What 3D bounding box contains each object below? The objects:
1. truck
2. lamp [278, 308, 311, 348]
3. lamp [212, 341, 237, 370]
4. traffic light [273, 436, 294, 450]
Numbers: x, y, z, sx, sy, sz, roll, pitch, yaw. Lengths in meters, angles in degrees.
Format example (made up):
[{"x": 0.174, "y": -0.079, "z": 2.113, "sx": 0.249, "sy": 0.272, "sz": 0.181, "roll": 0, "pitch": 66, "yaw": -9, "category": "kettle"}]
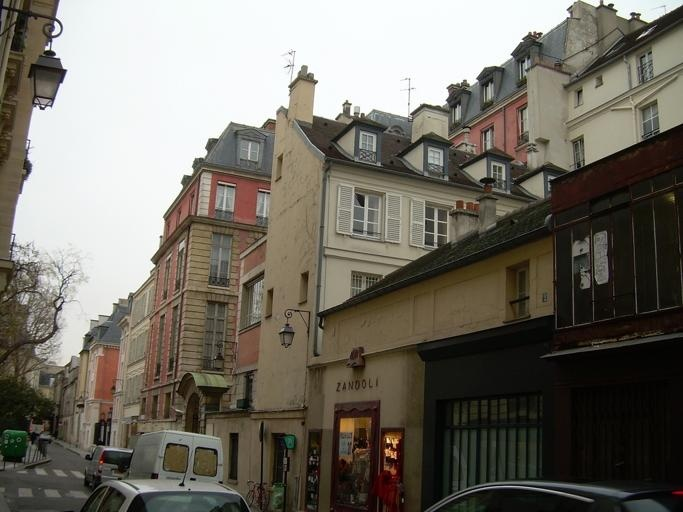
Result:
[{"x": -5.230, "y": 6.409, "z": 22.891, "sx": 2.232, "sy": 2.297, "sz": 4.074, "roll": 7, "pitch": -17, "yaw": -23, "category": "truck"}, {"x": -1.549, "y": 2.465, "z": 24.653, "sx": 0.974, "sy": 1.497, "sz": 0.407, "roll": 12, "pitch": -28, "yaw": -19, "category": "lamp"}, {"x": -7.168, "y": 6.164, "z": 44.330, "sx": 1.345, "sy": 2.844, "sz": 0.915, "roll": 2, "pitch": -46, "yaw": -3, "category": "lamp"}, {"x": -2.078, "y": 6.854, "z": 26.338, "sx": 0.130, "sy": 0.478, "sz": 0.806, "roll": 6, "pitch": -19, "yaw": -27, "category": "traffic light"}]
